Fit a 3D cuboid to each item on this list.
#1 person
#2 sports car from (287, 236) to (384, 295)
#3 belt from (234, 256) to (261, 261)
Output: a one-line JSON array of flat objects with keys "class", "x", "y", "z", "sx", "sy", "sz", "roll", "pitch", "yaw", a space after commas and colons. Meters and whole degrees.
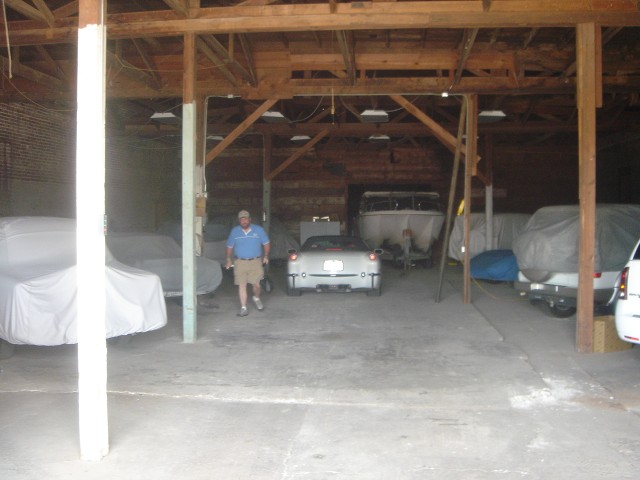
[{"class": "person", "x": -1.224, "y": 0.367, "z": 11.237, "sx": 0.652, "sy": 1.861, "sz": 0.832, "roll": 0, "pitch": 0, "yaw": -4}, {"class": "sports car", "x": 0.287, "y": 0.484, "z": 13.594, "sx": 1.901, "sy": 1.269, "sz": 3.184, "roll": 0, "pitch": -1, "yaw": -2}, {"class": "belt", "x": -1.225, "y": 0.304, "z": 11.029, "sx": 0.433, "sy": 0.081, "sz": 0.162, "roll": -1, "pitch": 10, "yaw": -6}]
